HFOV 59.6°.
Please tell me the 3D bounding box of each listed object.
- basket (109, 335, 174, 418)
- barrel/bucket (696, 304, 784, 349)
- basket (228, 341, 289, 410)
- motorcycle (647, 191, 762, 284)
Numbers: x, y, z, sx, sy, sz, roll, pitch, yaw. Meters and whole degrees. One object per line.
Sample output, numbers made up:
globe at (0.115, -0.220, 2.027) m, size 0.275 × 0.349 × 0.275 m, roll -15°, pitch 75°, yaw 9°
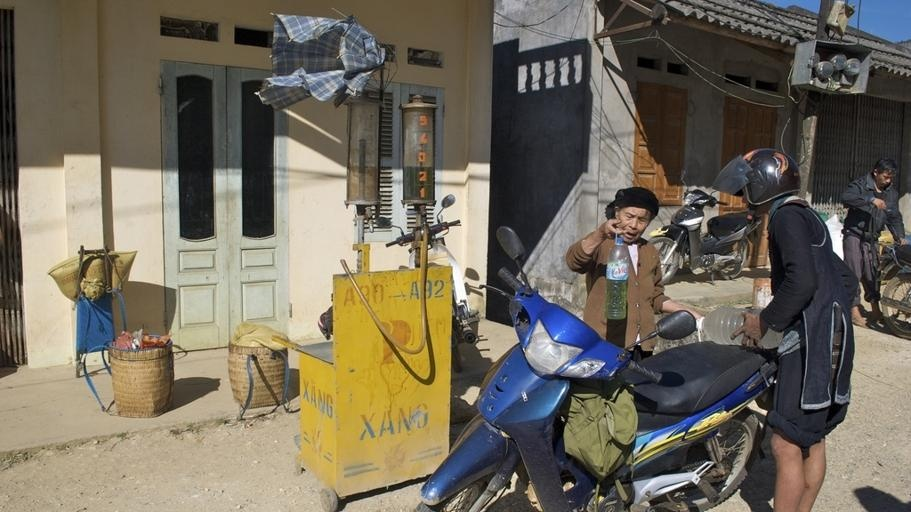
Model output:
basket at (-3.960, 1.483, 10.130) m, size 0.666 × 0.906 × 0.813 m, roll 4°, pitch 8°, yaw 3°
barrel/bucket at (3.156, 0.823, 9.238) m, size 1.166 × 0.536 × 0.519 m, roll 1°, pitch -6°, yaw 45°
basket at (-2.494, 1.551, 10.251) m, size 0.712 × 0.922 × 0.951 m, roll 0°, pitch 13°, yaw -13°
motorcycle at (4.209, -0.286, 13.588) m, size 2.467 × 1.543 × 0.787 m, roll 1°, pitch 11°, yaw -28°
